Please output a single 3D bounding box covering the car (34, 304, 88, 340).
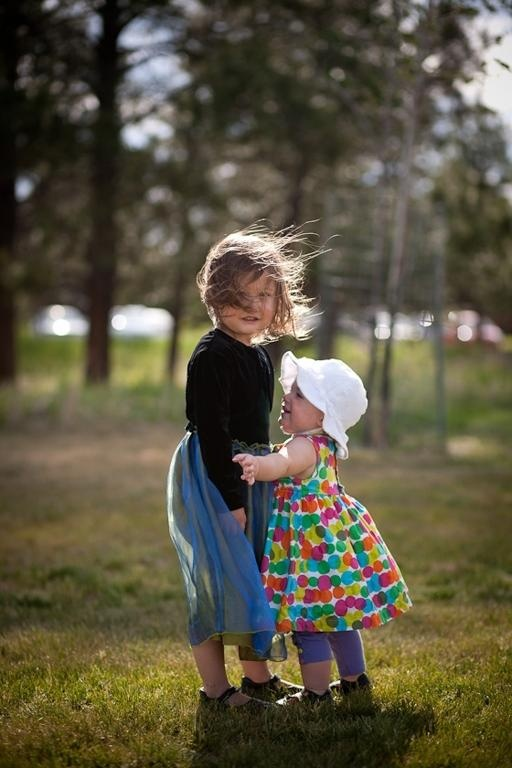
[{"bbox_3d":[-3.310,-1.108,15.581,0.947,0.544,7.508,1,4,-13],"label":"car"}]

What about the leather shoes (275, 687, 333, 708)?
[{"bbox_3d":[0.165,1.028,3.055,0.194,0.066,0.066,-1,-11,16],"label":"leather shoes"}]

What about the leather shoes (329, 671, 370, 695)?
[{"bbox_3d":[0.327,1.021,3.162,0.164,0.058,0.059,-2,-4,33],"label":"leather shoes"}]

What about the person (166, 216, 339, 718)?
[{"bbox_3d":[-0.070,0.263,3.144,0.462,1.612,0.593,3,6,3],"label":"person"}]

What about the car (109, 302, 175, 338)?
[{"bbox_3d":[-2.221,-1.169,17.841,1.043,0.651,3.990,2,4,-7],"label":"car"}]

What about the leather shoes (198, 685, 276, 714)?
[{"bbox_3d":[-0.059,1.032,3.024,0.238,0.075,0.078,-3,-4,12],"label":"leather shoes"}]
